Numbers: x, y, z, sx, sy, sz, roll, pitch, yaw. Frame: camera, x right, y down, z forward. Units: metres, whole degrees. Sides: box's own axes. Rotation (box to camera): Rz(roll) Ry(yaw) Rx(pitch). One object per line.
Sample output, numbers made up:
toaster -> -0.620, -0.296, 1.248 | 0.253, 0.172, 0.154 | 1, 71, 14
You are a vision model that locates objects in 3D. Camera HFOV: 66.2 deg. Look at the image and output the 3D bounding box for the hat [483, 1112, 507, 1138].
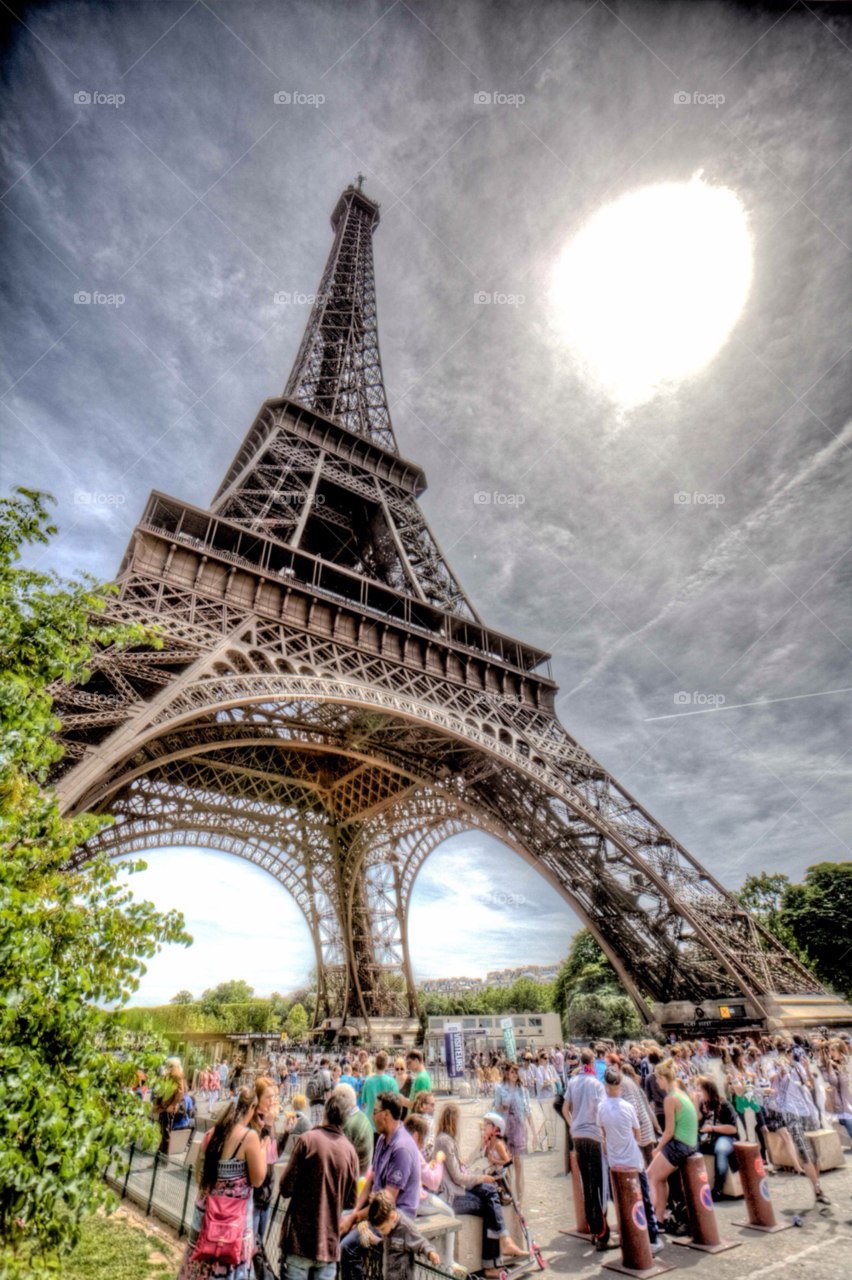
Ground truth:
hat -> 0.609, 4.481, 6.095 | 0.151, 0.149, 0.230 | -7, -28, 13
